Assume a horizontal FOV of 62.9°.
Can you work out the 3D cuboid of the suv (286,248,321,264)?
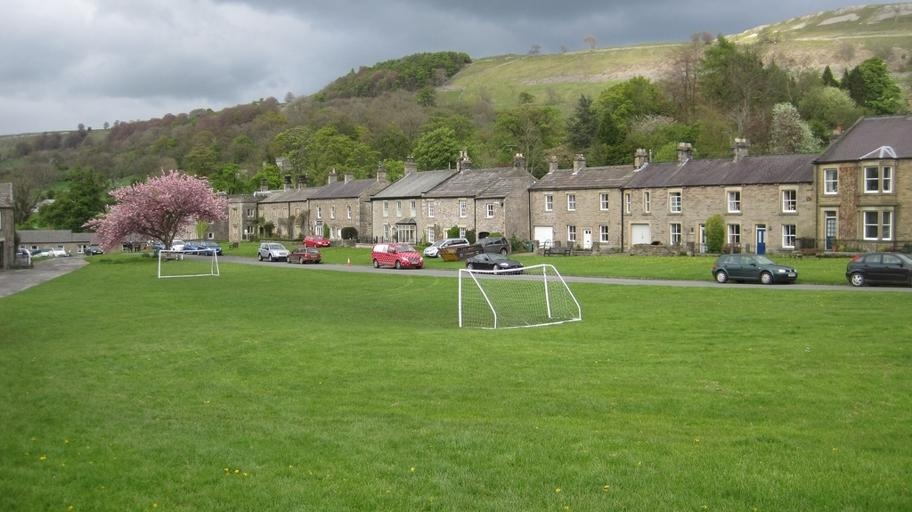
[{"bbox_3d":[-15.961,0.004,78.135,3.636,1.457,1.099,7,14,34],"label":"suv"}]

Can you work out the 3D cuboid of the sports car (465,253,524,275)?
[{"bbox_3d":[2.967,0.603,61.622,1.947,1.238,4.227,0,-2,-40],"label":"sports car"}]

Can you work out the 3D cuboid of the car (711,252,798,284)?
[{"bbox_3d":[21.059,0.910,52.658,2.421,1.683,4.862,1,-2,-43],"label":"car"}]

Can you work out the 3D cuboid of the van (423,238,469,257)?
[{"bbox_3d":[-0.744,-1.021,79.247,3.881,1.407,2.259,1,-1,-21],"label":"van"}]

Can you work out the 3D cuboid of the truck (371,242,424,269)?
[{"bbox_3d":[-5.601,-0.003,70.359,2.234,1.689,4.903,-1,0,-35],"label":"truck"}]

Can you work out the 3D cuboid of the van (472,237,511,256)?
[{"bbox_3d":[3.808,-1.146,76.361,3.387,1.316,1.729,3,-4,-28],"label":"van"}]

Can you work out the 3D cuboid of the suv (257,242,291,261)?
[{"bbox_3d":[-20.452,-0.379,82.499,2.216,1.740,3.948,-8,13,-32],"label":"suv"}]
